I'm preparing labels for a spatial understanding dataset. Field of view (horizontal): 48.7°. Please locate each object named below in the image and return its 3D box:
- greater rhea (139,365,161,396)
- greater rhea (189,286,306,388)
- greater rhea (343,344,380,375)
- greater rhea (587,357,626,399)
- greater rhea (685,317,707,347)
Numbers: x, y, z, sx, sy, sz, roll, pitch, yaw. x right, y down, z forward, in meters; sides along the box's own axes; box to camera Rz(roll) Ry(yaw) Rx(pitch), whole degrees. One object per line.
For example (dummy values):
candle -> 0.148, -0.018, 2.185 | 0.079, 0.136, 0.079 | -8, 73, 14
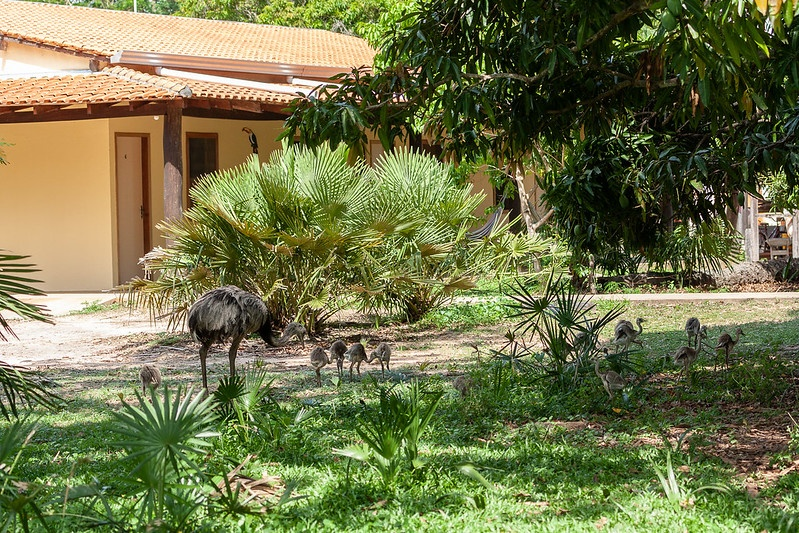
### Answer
greater rhea -> -2.814, 1.292, 9.926 | 0.202, 0.333, 0.524 | -3, 0, -17
greater rhea -> -1.682, 0.816, 9.795 | 1.326, 1.097, 0.531 | 5, -7, -24
greater rhea -> -0.512, 1.165, 11.262 | 0.388, 0.417, 0.894 | -3, 0, -7
greater rhea -> 2.220, 1.210, 9.412 | 0.259, 0.407, 0.570 | -3, 0, -14
greater rhea -> 3.961, 0.892, 11.810 | 0.178, 0.332, 0.766 | 1, -18, 27
